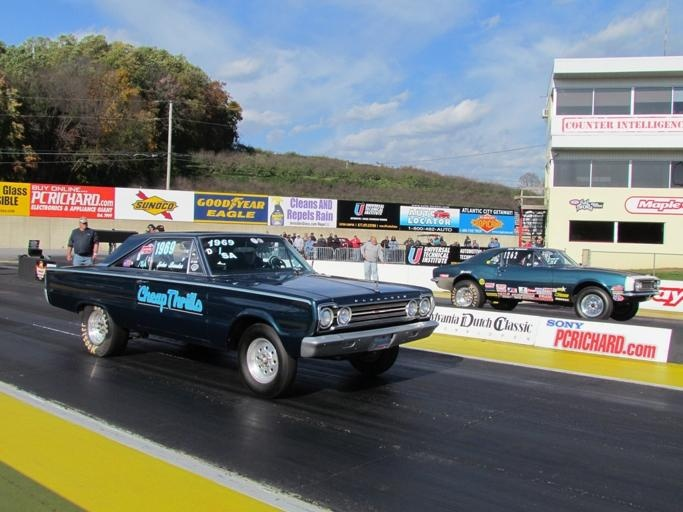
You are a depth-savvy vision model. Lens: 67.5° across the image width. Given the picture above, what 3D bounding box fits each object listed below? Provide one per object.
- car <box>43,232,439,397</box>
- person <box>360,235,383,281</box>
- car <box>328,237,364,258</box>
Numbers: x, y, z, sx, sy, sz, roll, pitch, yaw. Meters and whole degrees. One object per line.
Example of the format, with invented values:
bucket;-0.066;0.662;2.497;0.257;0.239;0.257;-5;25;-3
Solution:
car;-1.505;0.657;7.209;5.040;1.978;1.535;4;4;33
person;1.191;0.167;19.742;0.929;2.040;0.499;0;26;1
car;0.148;-0.493;31.074;1.185;0.615;1.944;-7;11;-37
